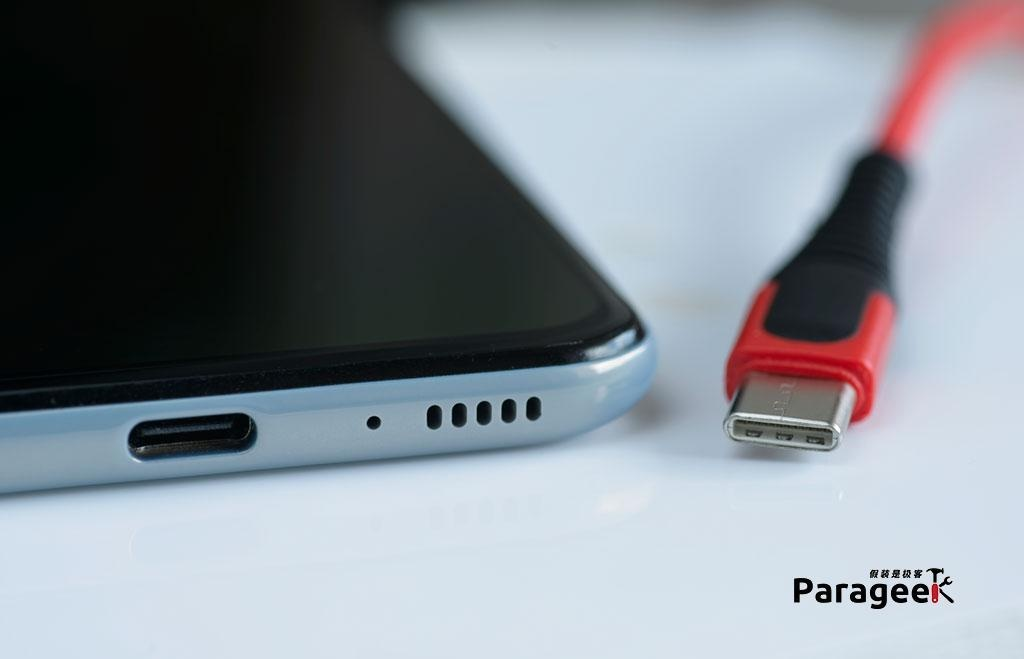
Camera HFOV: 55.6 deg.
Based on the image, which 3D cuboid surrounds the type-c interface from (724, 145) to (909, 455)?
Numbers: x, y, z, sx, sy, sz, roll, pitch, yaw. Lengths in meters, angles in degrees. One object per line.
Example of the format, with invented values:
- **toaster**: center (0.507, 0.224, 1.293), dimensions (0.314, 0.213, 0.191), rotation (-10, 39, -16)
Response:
- **type-c interface**: center (0.230, -0.035, 0.710), dimensions (0.080, 0.056, 0.320), rotation (6, 34, 23)
